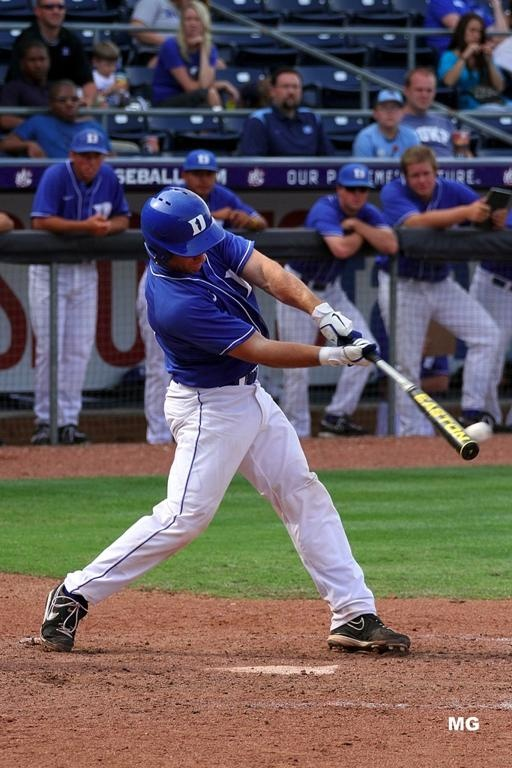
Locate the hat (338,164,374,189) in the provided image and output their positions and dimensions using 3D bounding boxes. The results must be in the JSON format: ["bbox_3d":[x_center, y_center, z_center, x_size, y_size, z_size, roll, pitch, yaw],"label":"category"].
[{"bbox_3d":[0.552,-1.180,7.158,0.171,0.110,0.215,3,12,-10],"label":"hat"}]

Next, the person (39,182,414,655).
[{"bbox_3d":[-0.085,0.121,3.996,1.134,1.443,0.403,0,15,-1],"label":"person"}]

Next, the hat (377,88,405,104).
[{"bbox_3d":[0.817,-1.767,7.878,0.147,0.080,0.229,4,12,14],"label":"hat"}]

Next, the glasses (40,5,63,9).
[{"bbox_3d":[-1.239,-2.296,7.813,0.071,0.019,0.066,-3,8,-19],"label":"glasses"}]

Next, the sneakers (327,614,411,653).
[{"bbox_3d":[0.359,0.795,4.072,0.253,0.121,0.110,-1,-8,11],"label":"sneakers"}]

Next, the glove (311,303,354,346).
[{"bbox_3d":[0.249,-0.191,4.030,0.098,0.155,0.066,-36,-2,-12],"label":"glove"}]

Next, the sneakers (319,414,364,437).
[{"bbox_3d":[0.494,0.241,7.563,0.321,0.120,0.099,2,16,-4],"label":"sneakers"}]

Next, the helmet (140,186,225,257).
[{"bbox_3d":[-0.225,-0.493,3.878,0.210,0.163,0.283,-25,30,-16],"label":"helmet"}]

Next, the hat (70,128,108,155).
[{"bbox_3d":[-0.899,-1.276,6.841,0.180,0.115,0.225,3,5,-15],"label":"hat"}]

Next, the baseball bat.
[{"bbox_3d":[0.863,0.105,6.671,0.160,0.119,0.927,-28,45,-20],"label":"baseball bat"}]

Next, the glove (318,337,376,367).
[{"bbox_3d":[0.276,-0.090,3.888,0.160,0.056,0.083,-8,-10,-14],"label":"glove"}]

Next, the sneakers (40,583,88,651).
[{"bbox_3d":[-0.600,0.696,4.033,0.096,0.128,0.266,33,21,-29],"label":"sneakers"}]

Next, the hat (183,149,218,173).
[{"bbox_3d":[-0.312,-1.229,7.052,0.171,0.115,0.220,-1,12,-6],"label":"hat"}]
